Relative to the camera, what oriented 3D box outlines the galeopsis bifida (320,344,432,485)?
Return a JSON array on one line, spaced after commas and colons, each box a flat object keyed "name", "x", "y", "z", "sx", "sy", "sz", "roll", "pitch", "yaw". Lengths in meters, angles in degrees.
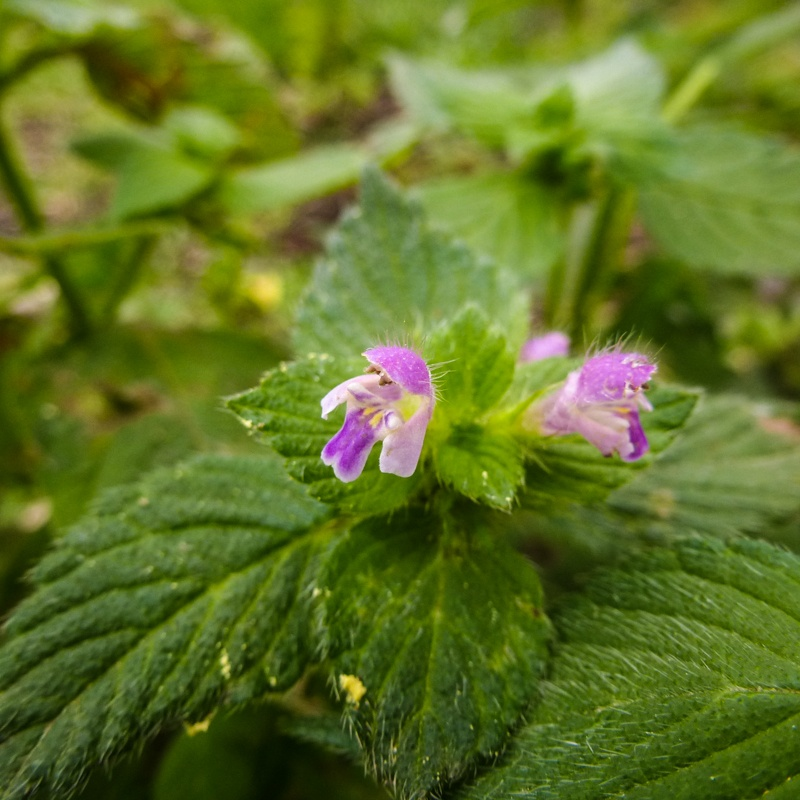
[{"name": "galeopsis bifida", "x": -0.033, "y": 0.028, "z": 0.931, "sx": 0.094, "sy": 0.112, "sz": 0.046, "roll": -9, "pitch": 44, "yaw": -23}]
